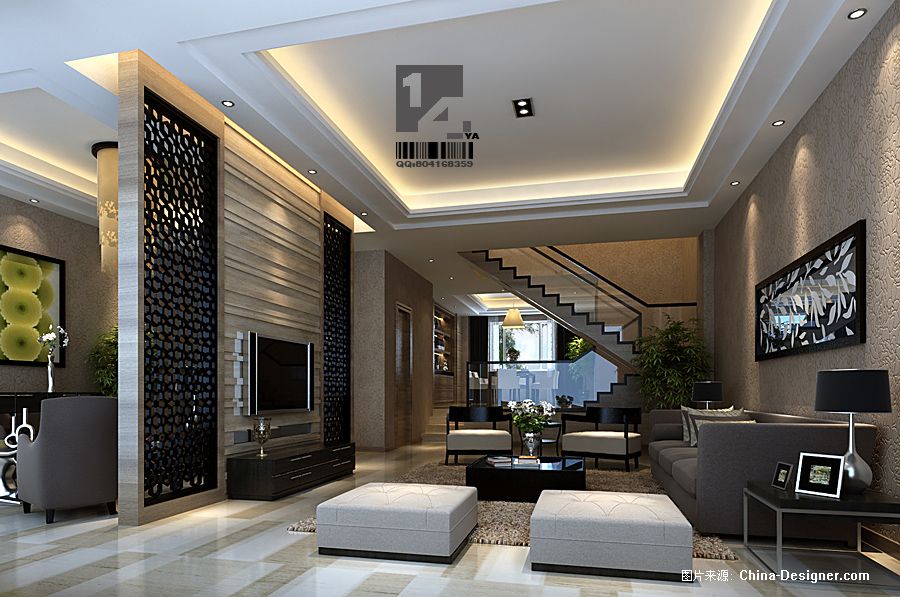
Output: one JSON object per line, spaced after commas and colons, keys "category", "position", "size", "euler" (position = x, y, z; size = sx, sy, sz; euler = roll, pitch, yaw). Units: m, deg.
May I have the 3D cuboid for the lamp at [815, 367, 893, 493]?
{"category": "lamp", "position": [3.161, 1.020, 4.579], "size": [0.479, 1.065, 0.380], "euler": [0, 0, -21]}

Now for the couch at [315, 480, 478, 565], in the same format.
{"category": "couch", "position": [-0.485, 1.912, 5.079], "size": [1.327, 0.474, 0.631], "euler": [-1, -1, 6]}

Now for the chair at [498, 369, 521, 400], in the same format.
{"category": "chair", "position": [1.181, 1.748, 11.844], "size": [0.450, 0.591, 0.867], "euler": [-1, -1, 4]}

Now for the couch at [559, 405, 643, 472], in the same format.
{"category": "couch", "position": [2.396, 2.140, 9.246], "size": [1.514, 1.162, 1.238], "euler": [-5, -12, 30]}

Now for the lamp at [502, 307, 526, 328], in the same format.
{"category": "lamp", "position": [1.492, 0.478, 14.043], "size": [0.589, 0.434, 0.608], "euler": [1, -6, -19]}

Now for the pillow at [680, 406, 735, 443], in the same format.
{"category": "pillow", "position": [3.165, 1.508, 7.435], "size": [0.723, 0.683, 0.240], "euler": [-2, -6, 13]}

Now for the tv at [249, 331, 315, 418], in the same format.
{"category": "tv", "position": [-2.199, 0.970, 7.638], "size": [0.105, 0.805, 1.297], "euler": [-1, -1, 22]}

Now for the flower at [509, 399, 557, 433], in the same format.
{"category": "flower", "position": [0.978, 1.436, 7.121], "size": [0.594, 0.400, 0.614], "euler": [-1, -1, 13]}

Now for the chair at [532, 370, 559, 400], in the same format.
{"category": "chair", "position": [1.959, 1.768, 11.910], "size": [0.619, 0.807, 0.450], "euler": [1, -7, 13]}

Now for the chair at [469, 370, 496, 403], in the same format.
{"category": "chair", "position": [0.657, 1.895, 12.601], "size": [0.646, 0.883, 0.667], "euler": [-1, -4, 15]}
